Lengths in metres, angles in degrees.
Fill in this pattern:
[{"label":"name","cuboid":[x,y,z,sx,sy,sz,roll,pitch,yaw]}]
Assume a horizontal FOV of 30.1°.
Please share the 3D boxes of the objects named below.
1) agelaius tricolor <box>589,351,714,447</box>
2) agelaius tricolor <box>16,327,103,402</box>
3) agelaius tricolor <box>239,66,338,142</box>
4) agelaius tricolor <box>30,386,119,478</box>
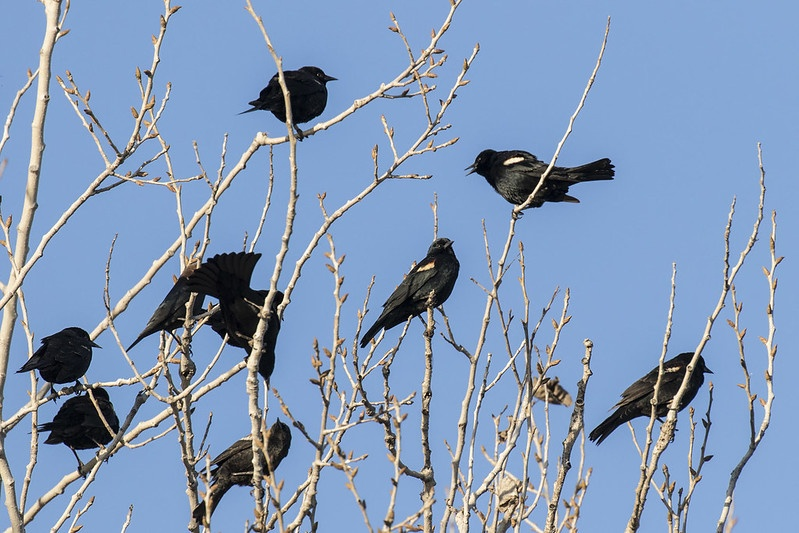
[{"label":"agelaius tricolor","cuboid":[2.780,1.419,16.376,1.508,0.794,0.571,-12,-32,2]},{"label":"agelaius tricolor","cuboid":[-3.541,0.956,15.600,0.492,0.806,1.176,-7,-14,25]},{"label":"agelaius tricolor","cuboid":[-1.295,-1.921,17.482,1.172,0.889,0.521,1,-14,-20]},{"label":"agelaius tricolor","cuboid":[-3.290,1.714,15.851,0.902,0.549,1.063,-30,-21,29]}]
